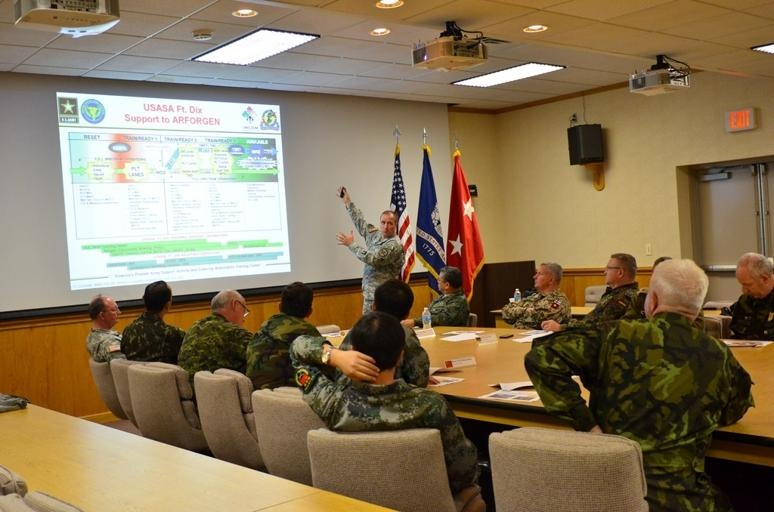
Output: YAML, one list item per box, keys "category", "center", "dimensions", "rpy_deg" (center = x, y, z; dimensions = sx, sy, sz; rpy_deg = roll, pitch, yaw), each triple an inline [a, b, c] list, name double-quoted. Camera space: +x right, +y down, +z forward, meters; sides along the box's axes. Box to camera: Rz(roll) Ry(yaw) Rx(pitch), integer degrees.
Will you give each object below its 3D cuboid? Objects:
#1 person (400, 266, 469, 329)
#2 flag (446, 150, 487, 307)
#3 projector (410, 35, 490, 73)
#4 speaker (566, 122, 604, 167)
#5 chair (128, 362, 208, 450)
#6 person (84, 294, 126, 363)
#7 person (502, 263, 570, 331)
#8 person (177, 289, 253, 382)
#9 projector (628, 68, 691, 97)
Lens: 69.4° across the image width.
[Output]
- category: "person"
  center: [0.471, 0.471, 5.525]
  dimensions: [0.735, 0.721, 0.484]
  rpy_deg: [0, 1, -31]
- category: "flag"
  center: [0.994, -0.369, 7.193]
  dimensions: [0.477, 1.821, 0.615]
  rpy_deg: [-4, 6, -23]
- category: "projector"
  center: [0.574, -1.829, 5.098]
  dimensions: [0.684, 0.223, 0.703]
  rpy_deg: [0, 9, 19]
- category: "speaker"
  center: [3.079, -1.717, 8.686]
  dimensions: [0.528, 0.576, 0.535]
  rpy_deg: [-3, 5, 35]
- category: "chair"
  center: [-1.500, 1.014, 3.976]
  dimensions: [0.540, 0.570, 0.593]
  rpy_deg: [1, -1, 37]
- category: "person"
  center: [-2.665, 0.688, 5.225]
  dimensions: [0.285, 0.527, 0.764]
  rpy_deg: [-10, 3, -40]
- category: "person"
  center: [1.459, 0.414, 5.435]
  dimensions: [0.491, 0.750, 0.822]
  rpy_deg: [3, -1, -9]
- category: "person"
  center: [-1.220, 0.724, 4.102]
  dimensions: [0.512, 0.949, 0.462]
  rpy_deg: [4, -1, -24]
- category: "projector"
  center: [3.036, -1.959, 6.245]
  dimensions: [0.564, 0.232, 0.309]
  rpy_deg: [1, 6, 27]
